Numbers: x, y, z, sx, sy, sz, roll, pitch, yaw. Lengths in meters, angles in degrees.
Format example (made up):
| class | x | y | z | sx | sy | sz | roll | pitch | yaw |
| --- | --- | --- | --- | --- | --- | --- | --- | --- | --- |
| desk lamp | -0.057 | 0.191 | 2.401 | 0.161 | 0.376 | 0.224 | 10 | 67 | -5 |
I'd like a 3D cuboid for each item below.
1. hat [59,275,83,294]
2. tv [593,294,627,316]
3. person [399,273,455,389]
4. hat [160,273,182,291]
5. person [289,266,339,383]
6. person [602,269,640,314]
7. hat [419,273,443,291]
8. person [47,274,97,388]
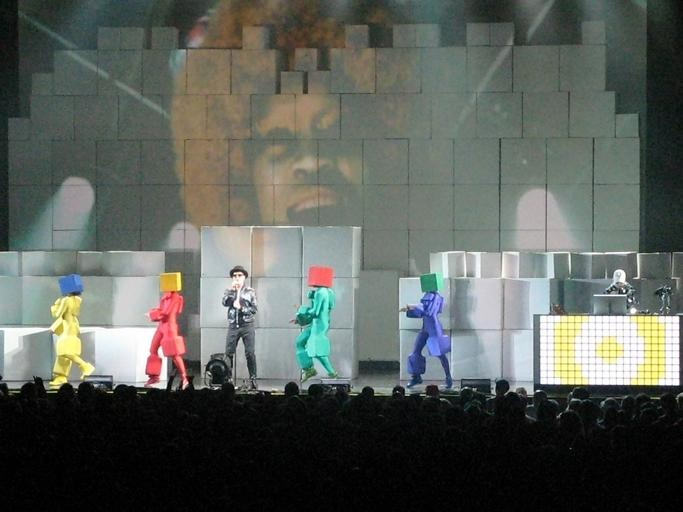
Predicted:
| class | x | y | z | sx | sy | sz | roll | pitch | yaw |
| --- | --- | --- | --- | --- | --- | --- | --- | --- | --- |
| hat | -4.609 | 0.475 | 26.364 | 0.298 | 0.271 | 0.164 | -5 | 8 | 22 |
| tv | 4.223 | 0.768 | 24.638 | 0.564 | 0.368 | 0.302 | 0 | -4 | 7 |
| person | 1.426 | 1.258 | 26.551 | 0.867 | 1.938 | 0.821 | -1 | -1 | 3 |
| hat | -2.943 | 0.425 | 26.563 | 0.319 | 0.302 | 0.316 | 1 | 0 | -35 |
| person | -0.485 | 1.128 | 26.286 | 0.695 | 1.947 | 0.329 | -1 | -1 | -3 |
| person | 4.616 | 0.554 | 25.563 | 0.534 | 0.743 | 0.243 | 0 | 2 | 4 |
| hat | 1.500 | 0.442 | 26.411 | 0.298 | 0.309 | 0.319 | -9 | -7 | 34 |
| person | -4.602 | 1.255 | 26.334 | 0.730 | 1.902 | 1.314 | -1 | -1 | -9 |
